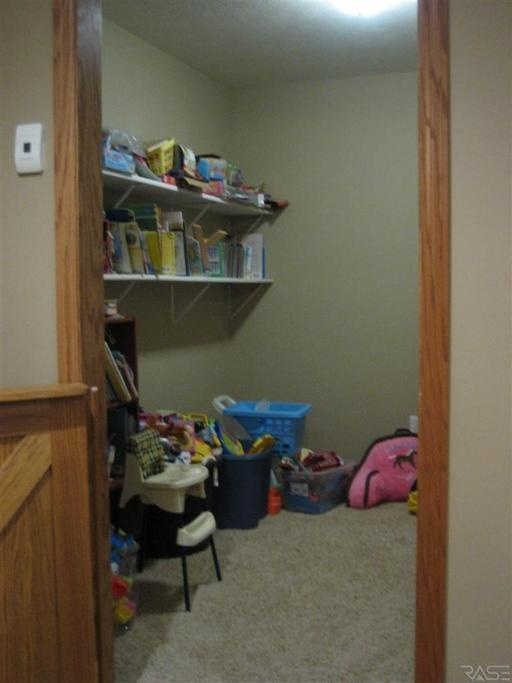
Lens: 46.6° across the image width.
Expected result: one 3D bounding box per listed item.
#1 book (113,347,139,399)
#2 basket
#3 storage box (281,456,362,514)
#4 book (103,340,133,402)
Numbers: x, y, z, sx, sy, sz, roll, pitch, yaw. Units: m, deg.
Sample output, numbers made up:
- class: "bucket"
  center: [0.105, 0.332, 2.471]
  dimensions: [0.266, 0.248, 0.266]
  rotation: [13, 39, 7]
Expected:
- class: "book"
  center: [-0.514, 0.138, 2.462]
  dimensions: [0.039, 0.167, 0.163]
  rotation: [-19, 33, -11]
- class: "basket"
  center: [0.013, 0.452, 3.222]
  dimensions: [0.443, 0.257, 0.308]
  rotation: [-1, -3, 14]
- class: "storage box"
  center: [0.323, 0.780, 3.148]
  dimensions: [0.281, 0.184, 0.406]
  rotation: [-1, -5, 39]
- class: "book"
  center: [-0.566, 0.136, 2.381]
  dimensions: [0.084, 0.237, 0.166]
  rotation: [0, 3, 11]
